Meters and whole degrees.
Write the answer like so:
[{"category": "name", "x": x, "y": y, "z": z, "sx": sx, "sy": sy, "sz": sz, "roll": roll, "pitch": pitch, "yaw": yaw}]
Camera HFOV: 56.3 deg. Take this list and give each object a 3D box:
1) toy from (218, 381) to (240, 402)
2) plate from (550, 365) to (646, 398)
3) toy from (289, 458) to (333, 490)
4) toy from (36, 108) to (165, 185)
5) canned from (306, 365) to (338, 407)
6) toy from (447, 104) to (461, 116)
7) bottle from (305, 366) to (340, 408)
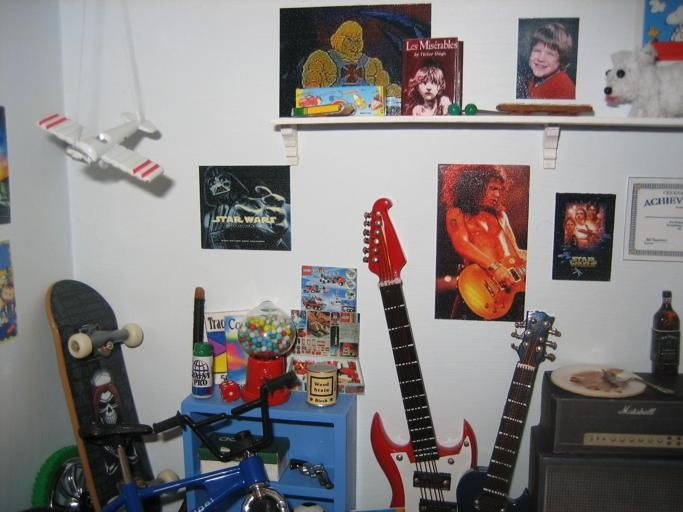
[{"category": "toy", "x": -0.490, "y": 0.596, "z": 2.796, "sx": 0.077, "sy": 0.079, "sz": 0.076, "roll": 0, "pitch": -13, "yaw": -43}, {"category": "plate", "x": 1.083, "y": 0.530, "z": 2.692, "sx": 0.366, "sy": 0.079, "sz": 0.230, "roll": 3, "pitch": 7, "yaw": 28}, {"category": "toy", "x": -0.136, "y": 0.965, "z": 2.805, "sx": 0.185, "sy": 0.093, "sz": 0.180, "roll": -1, "pitch": 6, "yaw": -7}, {"category": "toy", "x": -1.004, "y": -0.464, "z": 2.773, "sx": 0.435, "sy": 0.189, "sz": 0.355, "roll": 33, "pitch": 36, "yaw": 4}, {"category": "canned", "x": -0.089, "y": 0.566, "z": 2.827, "sx": 0.142, "sy": 0.166, "sz": 0.147, "roll": 7, "pitch": 12, "yaw": 34}, {"category": "toy", "x": 0.480, "y": -0.623, "z": 2.711, "sx": 0.054, "sy": 0.054, "sz": 0.040, "roll": -1, "pitch": 6, "yaw": -2}, {"category": "bottle", "x": -0.087, "y": 0.566, "z": 2.796, "sx": 0.135, "sy": 0.164, "sz": 0.129, "roll": -1, "pitch": 6, "yaw": 0}]
